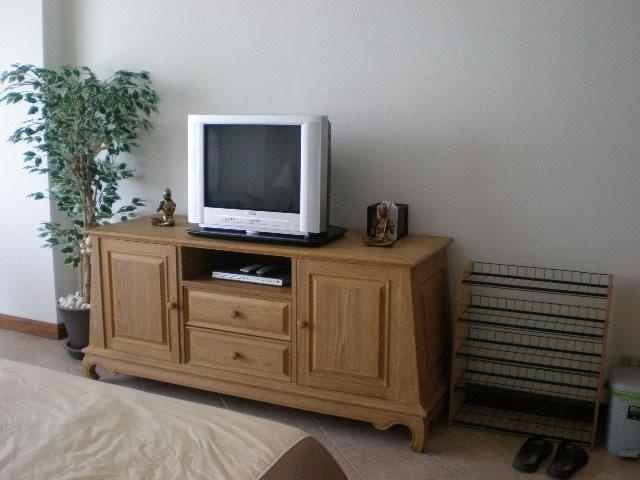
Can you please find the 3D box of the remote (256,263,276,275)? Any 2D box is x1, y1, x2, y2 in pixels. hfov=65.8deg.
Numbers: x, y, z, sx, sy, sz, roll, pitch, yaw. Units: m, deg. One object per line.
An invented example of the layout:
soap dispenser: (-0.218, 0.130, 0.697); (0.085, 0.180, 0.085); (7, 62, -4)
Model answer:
remote: (-0.294, 0.159, 2.670); (0.034, 0.017, 0.144); (12, 17, 14)

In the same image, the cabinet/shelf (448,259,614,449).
cabinet/shelf: (1.104, 0.585, 2.526); (0.781, 0.905, 0.352); (5, 12, 26)

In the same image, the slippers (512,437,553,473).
slippers: (0.977, 0.976, 2.267); (0.089, 0.080, 0.267); (5, 18, 35)
